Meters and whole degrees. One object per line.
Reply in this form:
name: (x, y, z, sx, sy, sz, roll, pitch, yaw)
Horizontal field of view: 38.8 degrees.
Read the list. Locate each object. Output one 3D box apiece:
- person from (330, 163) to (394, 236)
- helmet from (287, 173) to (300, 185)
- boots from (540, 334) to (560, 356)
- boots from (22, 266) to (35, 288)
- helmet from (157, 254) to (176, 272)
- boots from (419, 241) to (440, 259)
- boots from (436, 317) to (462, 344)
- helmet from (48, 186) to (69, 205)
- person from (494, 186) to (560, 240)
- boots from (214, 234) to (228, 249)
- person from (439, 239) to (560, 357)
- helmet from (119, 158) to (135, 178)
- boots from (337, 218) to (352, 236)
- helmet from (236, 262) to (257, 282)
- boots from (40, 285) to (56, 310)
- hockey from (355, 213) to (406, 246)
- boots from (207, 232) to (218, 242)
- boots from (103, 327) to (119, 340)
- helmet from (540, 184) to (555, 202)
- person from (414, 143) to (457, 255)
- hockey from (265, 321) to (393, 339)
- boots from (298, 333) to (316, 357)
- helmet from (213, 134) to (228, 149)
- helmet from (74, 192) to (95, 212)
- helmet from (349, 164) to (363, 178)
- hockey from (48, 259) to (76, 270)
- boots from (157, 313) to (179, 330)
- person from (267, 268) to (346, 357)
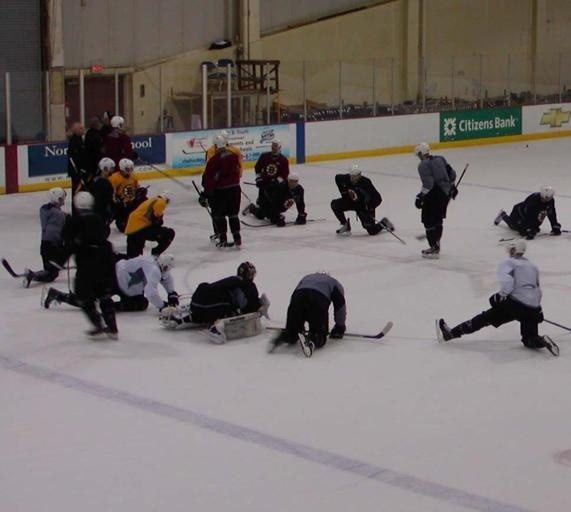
person: (1.214, -0.851, 12.885, 0.994, 1.106, 0.629, 3, 15, 6)
helmet: (0.133, -1.284, 13.365, 0.197, 0.177, 0.150, 7, 44, -10)
boots: (2.520, 0.840, 7.744, 0.123, 0.237, 0.063, -36, 7, 17)
boots: (-3.108, 0.263, 9.863, 0.166, 0.217, 0.086, 11, 7, 42)
helmet: (-1.236, 0.067, 8.348, 0.185, 0.160, 0.135, 4, 23, 1)
boots: (2.086, -0.085, 11.679, 0.313, 0.277, 0.143, 12, 20, 26)
boots: (1.605, 0.744, 8.163, 0.143, 0.303, 0.108, -13, -2, 7)
helmet: (-2.811, -0.713, 9.966, 0.177, 0.245, 0.530, -2, 14, -13)
person: (3.806, -0.694, 12.648, 0.838, 0.855, 0.720, 9, 17, 29)
boots: (-0.966, -0.209, 12.178, 0.101, 0.186, 0.271, -2, 19, -17)
person: (2.101, 0.420, 8.040, 0.665, 1.127, 1.465, 17, -19, -40)
helmet: (-2.353, -1.321, 12.115, 0.284, 0.252, 0.206, 9, 21, 5)
boots: (0.977, -0.445, 13.221, 0.332, 0.303, 0.148, 4, 3, 31)
helmet: (-0.378, 0.145, 8.052, 0.164, 0.190, 0.204, 2, 17, 5)
boots: (-2.595, 0.456, 9.013, 0.129, 0.297, 0.149, -2, 32, -46)
hockey: (1.638, -0.441, 12.861, 0.616, 0.088, 0.228, 39, 42, -6)
boots: (-1.109, -0.284, 12.460, 0.134, 0.107, 0.151, 2, 8, -2)
boots: (-1.723, 0.745, 8.055, 0.122, 0.141, 0.154, 2, 14, 4)
helmet: (3.992, -0.957, 12.260, 0.224, 0.254, 0.258, -3, -9, -15)
person: (2.143, -0.801, 11.673, 0.598, 1.589, 0.626, 4, 15, 11)
hockey: (0.418, 0.745, 8.223, 1.499, 0.113, 0.207, 1, 41, -37)
boots: (0.198, 0.829, 7.699, 0.118, 0.276, 0.086, -13, 1, -2)
helmet: (-0.943, -1.665, 12.015, 0.179, 0.205, 0.214, 5, -7, 11)
helmet: (-2.015, -0.534, 8.097, 0.165, 0.214, 0.349, -4, 15, -18)
helmet: (1.102, -1.306, 12.646, 0.190, 0.198, 0.228, -1, 14, 7)
hockey: (-2.710, 0.093, 9.759, 0.143, 0.123, 0.089, -17, 9, 2)
boots: (-1.219, 0.677, 8.414, 0.191, 0.081, 0.147, 13, 29, 20)
person: (0.208, 0.511, 7.999, 0.665, 0.726, 0.768, 8, 16, 27)
